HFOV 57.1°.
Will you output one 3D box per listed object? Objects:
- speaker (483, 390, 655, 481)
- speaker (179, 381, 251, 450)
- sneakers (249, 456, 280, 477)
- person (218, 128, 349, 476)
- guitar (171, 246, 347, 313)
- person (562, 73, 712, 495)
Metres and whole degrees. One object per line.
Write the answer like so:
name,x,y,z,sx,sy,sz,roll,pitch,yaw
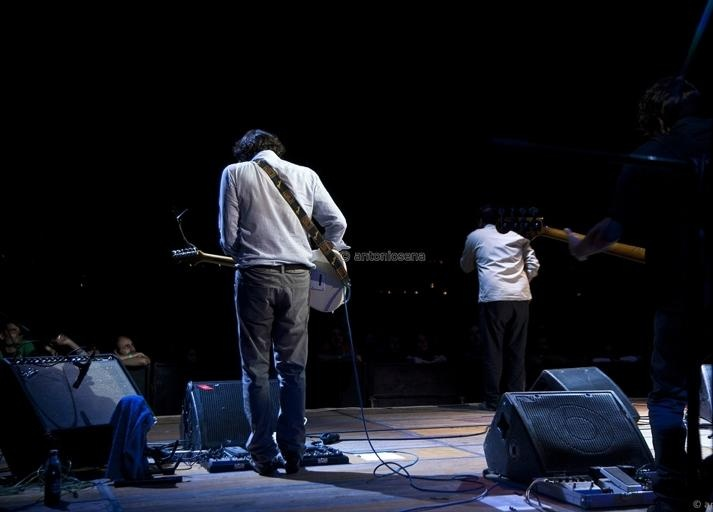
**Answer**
speaker,1.346,1.168,4.329,0.898,0.494,0.758,4,-1,-23
speaker,-1.067,1.192,4.982,0.549,0.465,0.545,2,-4,-18
sneakers,-0.606,1.418,4.393,0.082,0.093,0.220,4,1,-26
person,-0.601,0.276,4.671,0.714,2.351,0.705,3,4,20
guitar,-0.734,0.048,5.195,1.331,0.643,0.179,10,33,-14
person,1.610,0.127,3.550,0.525,2.189,0.407,5,5,42
